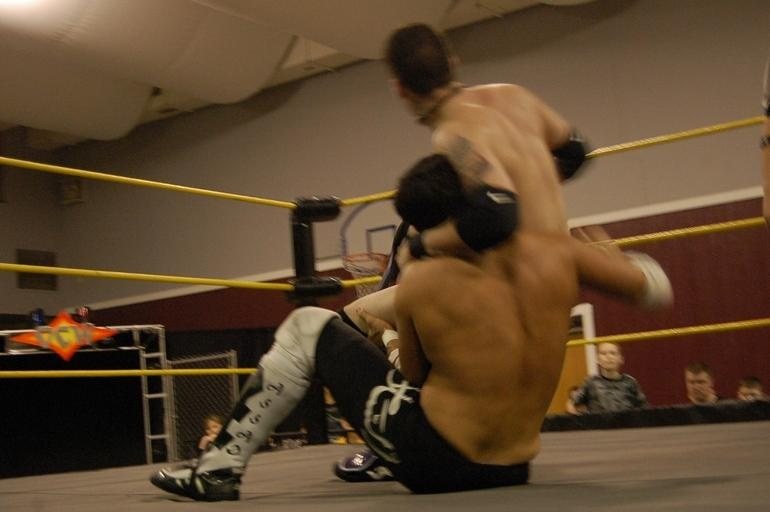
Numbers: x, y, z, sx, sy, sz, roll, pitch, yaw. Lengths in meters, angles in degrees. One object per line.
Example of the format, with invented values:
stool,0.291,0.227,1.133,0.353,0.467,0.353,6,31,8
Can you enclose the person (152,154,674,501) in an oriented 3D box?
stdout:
person,0.126,0.320,2.468,1.886,1.139,1.161,-1,-6,7

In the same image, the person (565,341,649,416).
person,1.648,0.962,4.584,0.647,0.698,0.394,-1,-19,9

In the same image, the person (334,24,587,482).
person,0.222,-0.101,2.408,0.934,1.465,0.668,19,37,35
